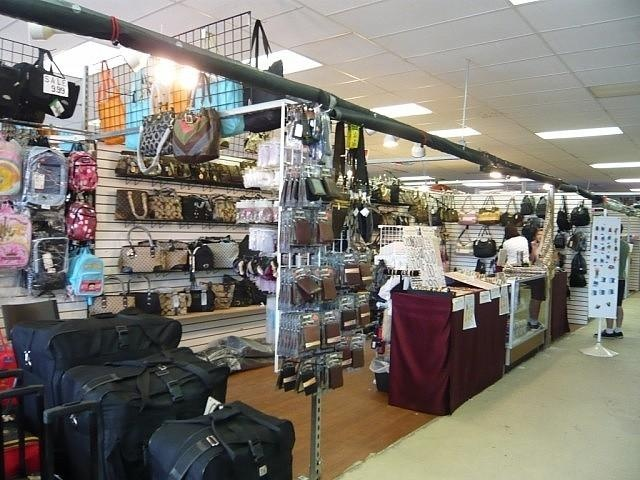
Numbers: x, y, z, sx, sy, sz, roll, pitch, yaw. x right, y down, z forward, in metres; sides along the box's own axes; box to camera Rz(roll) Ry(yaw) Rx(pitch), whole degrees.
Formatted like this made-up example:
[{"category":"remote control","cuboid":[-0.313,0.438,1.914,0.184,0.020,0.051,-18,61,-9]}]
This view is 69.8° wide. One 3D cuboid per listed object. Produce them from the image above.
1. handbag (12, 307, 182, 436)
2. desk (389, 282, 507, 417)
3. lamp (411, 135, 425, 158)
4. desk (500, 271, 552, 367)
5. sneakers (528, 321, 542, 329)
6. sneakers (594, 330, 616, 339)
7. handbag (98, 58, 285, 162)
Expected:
[{"category":"handbag","cuboid":[-1.757,0.721,3.673,1.321,0.957,0.891,1,-2,-43]},{"category":"desk","cuboid":[1.550,1.130,5.647,1.282,1.475,2.288,1,3,35]},{"category":"lamp","cuboid":[1.526,-1.403,7.142,0.180,0.233,0.429,4,4,13]},{"category":"desk","cuboid":[3.001,1.135,6.742,0.553,1.174,1.546,0,2,37]},{"category":"sneakers","cuboid":[3.335,1.312,7.146,0.140,0.115,0.367,-4,-12,38]},{"category":"sneakers","cuboid":[5.249,1.723,8.524,0.418,0.139,0.136,1,-4,27]},{"category":"handbag","cuboid":[-0.951,-1.211,4.178,1.317,0.406,1.291,-1,1,26]}]
